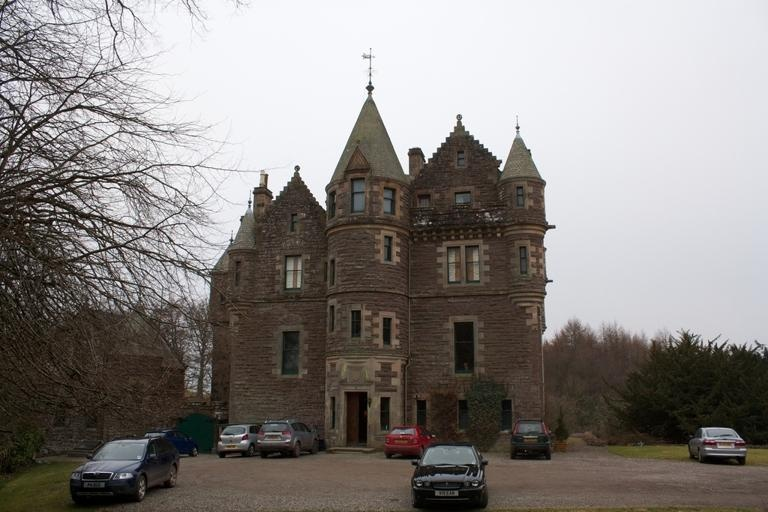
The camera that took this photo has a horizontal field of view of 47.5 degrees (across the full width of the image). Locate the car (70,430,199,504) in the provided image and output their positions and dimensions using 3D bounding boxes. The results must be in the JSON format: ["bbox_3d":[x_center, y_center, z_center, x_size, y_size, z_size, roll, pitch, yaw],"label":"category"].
[{"bbox_3d":[-9.009,7.555,30.851,1.996,2.179,3.627,-2,-9,28],"label":"car"}]

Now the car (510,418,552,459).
[{"bbox_3d":[7.130,8.765,42.350,1.325,1.098,2.651,0,-2,8],"label":"car"}]

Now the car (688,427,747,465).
[{"bbox_3d":[15.020,8.543,39.648,1.360,0.965,3.065,0,-9,11],"label":"car"}]
